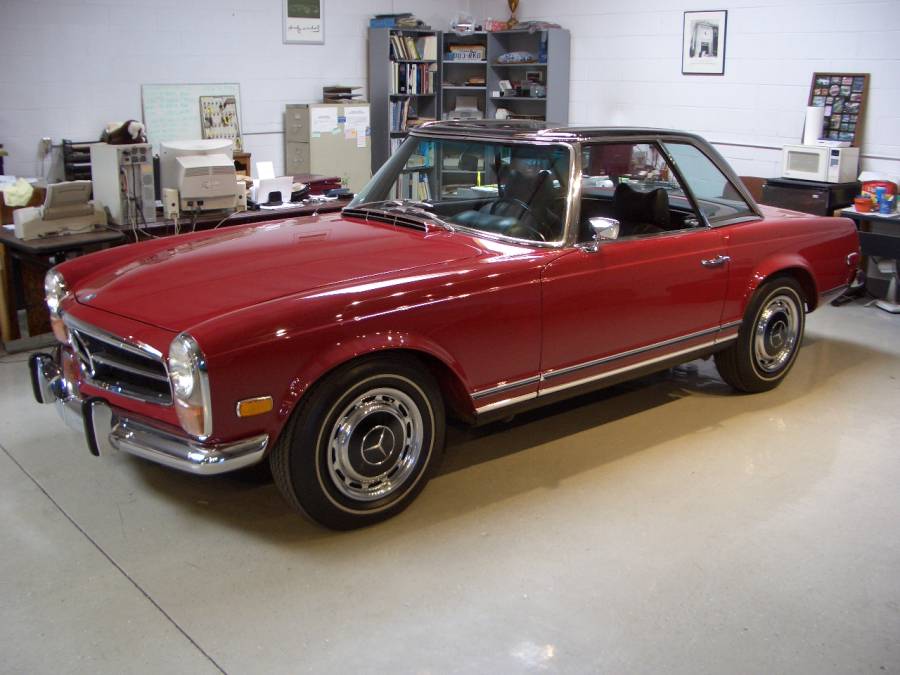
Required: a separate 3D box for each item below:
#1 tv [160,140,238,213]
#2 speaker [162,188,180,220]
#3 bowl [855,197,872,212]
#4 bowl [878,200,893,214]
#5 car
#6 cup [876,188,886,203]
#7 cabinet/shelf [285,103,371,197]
[{"bbox_3d":[-1.894,-1.235,4.383,0.539,0.521,0.400,-13,29,-36],"label":"tv"},{"bbox_3d":[-2.034,-0.985,4.161,0.085,0.228,0.241,-2,5,-26],"label":"speaker"},{"bbox_3d":[3.809,-1.236,5.283,0.152,0.109,0.118,-3,6,-38],"label":"bowl"},{"bbox_3d":[3.960,-1.204,5.249,0.122,0.133,0.118,-3,20,1],"label":"bowl"},{"bbox_3d":[0.384,-0.372,3.277,4.728,1.667,1.674,-14,22,-32],"label":"car"},{"bbox_3d":[3.937,-1.305,5.236,0.084,0.149,0.068,7,21,25],"label":"cup"},{"bbox_3d":[-1.691,-2.645,7.877,0.885,1.202,0.588,-20,37,-38],"label":"cabinet/shelf"}]
